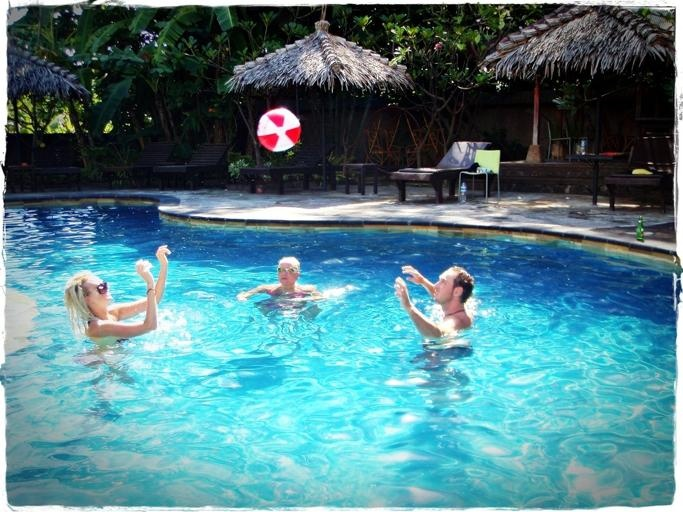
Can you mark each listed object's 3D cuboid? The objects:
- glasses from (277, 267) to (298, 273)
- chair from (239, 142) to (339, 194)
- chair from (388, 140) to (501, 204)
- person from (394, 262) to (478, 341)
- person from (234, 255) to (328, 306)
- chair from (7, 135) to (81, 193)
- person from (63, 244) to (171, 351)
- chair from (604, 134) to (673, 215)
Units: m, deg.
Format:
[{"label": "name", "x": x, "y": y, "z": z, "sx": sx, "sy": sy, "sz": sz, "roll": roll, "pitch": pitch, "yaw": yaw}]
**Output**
[{"label": "glasses", "x": -0.590, "y": 0.125, "z": 5.665, "sx": 0.205, "sy": 0.056, "sz": 0.088, "roll": -1, "pitch": 7, "yaw": 2}, {"label": "chair", "x": -1.625, "y": -2.831, "z": 16.570, "sx": 3.277, "sy": 1.621, "sz": 1.639, "roll": -6, "pitch": 9, "yaw": -43}, {"label": "chair", "x": 2.703, "y": -2.216, "z": 13.646, "sx": 2.265, "sy": 1.491, "sz": 3.303, "roll": 1, "pitch": 8, "yaw": 15}, {"label": "person", "x": 0.923, "y": 0.433, "z": 4.990, "sx": 0.784, "sy": 0.798, "sz": 1.063, "roll": 8, "pitch": 18, "yaw": 11}, {"label": "person", "x": -0.718, "y": 0.243, "z": 6.100, "sx": 0.838, "sy": 0.553, "sz": 0.706, "roll": 5, "pitch": 9, "yaw": 9}, {"label": "chair", "x": -10.800, "y": -3.283, "z": 18.488, "sx": 2.309, "sy": 2.245, "sz": 2.786, "roll": 6, "pitch": 12, "yaw": 22}, {"label": "person", "x": -1.906, "y": 0.438, "z": 4.689, "sx": 0.844, "sy": 1.102, "sz": 0.876, "roll": 13, "pitch": 15, "yaw": 25}, {"label": "chair", "x": 6.631, "y": -1.743, "z": 11.467, "sx": 1.638, "sy": 2.198, "sz": 1.726, "roll": 8, "pitch": 14, "yaw": 28}]
